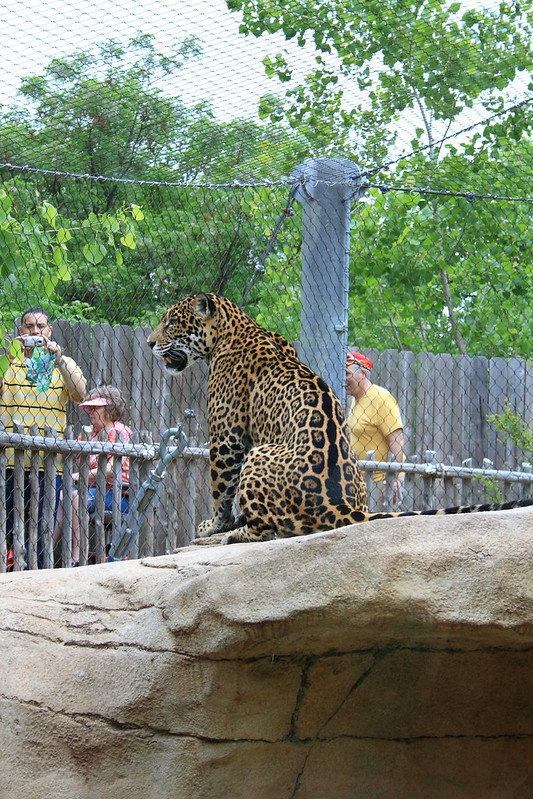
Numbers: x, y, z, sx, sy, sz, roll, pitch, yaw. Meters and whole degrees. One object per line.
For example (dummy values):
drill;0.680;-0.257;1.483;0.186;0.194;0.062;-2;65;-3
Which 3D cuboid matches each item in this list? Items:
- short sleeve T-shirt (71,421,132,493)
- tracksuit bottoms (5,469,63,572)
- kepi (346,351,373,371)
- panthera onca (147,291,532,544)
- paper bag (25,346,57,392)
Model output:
short sleeve T-shirt;-0.847;0.329;8.647;0.283;0.398;0.267;-1;-10;5
tracksuit bottoms;-1.178;0.615;8.199;0.318;0.464;0.177;3;-2;-22
kepi;0.547;-0.230;9.553;0.110;0.068;0.172;16;0;15
panthera onca;0.037;0.076;7.060;0.766;1.119;1.401;-2;3;-5
paper bag;-1.155;-0.164;8.410;0.175;0.212;0.084;2;-4;-21
